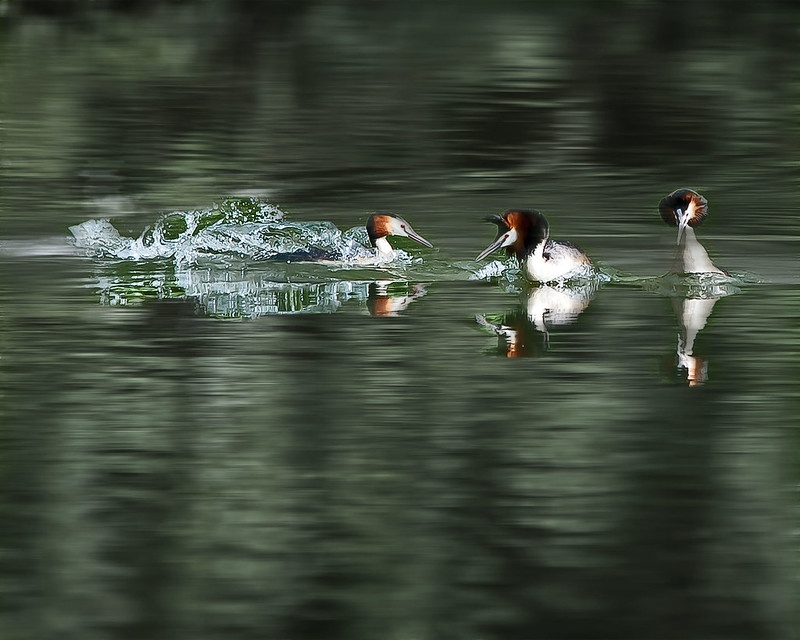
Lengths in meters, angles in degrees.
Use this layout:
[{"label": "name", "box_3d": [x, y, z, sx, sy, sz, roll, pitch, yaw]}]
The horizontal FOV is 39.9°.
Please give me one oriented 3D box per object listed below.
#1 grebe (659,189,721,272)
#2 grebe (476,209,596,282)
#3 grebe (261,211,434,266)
[{"label": "grebe", "box_3d": [2.144, -0.642, 8.104, 0.500, 0.631, 0.239, 2, 13, 7]}, {"label": "grebe", "box_3d": [1.173, -0.525, 8.287, 1.233, 0.555, 0.394, 2, 16, 31]}, {"label": "grebe", "box_3d": [-0.423, -0.650, 9.231, 1.622, 0.346, 0.329, 1, -5, 31]}]
